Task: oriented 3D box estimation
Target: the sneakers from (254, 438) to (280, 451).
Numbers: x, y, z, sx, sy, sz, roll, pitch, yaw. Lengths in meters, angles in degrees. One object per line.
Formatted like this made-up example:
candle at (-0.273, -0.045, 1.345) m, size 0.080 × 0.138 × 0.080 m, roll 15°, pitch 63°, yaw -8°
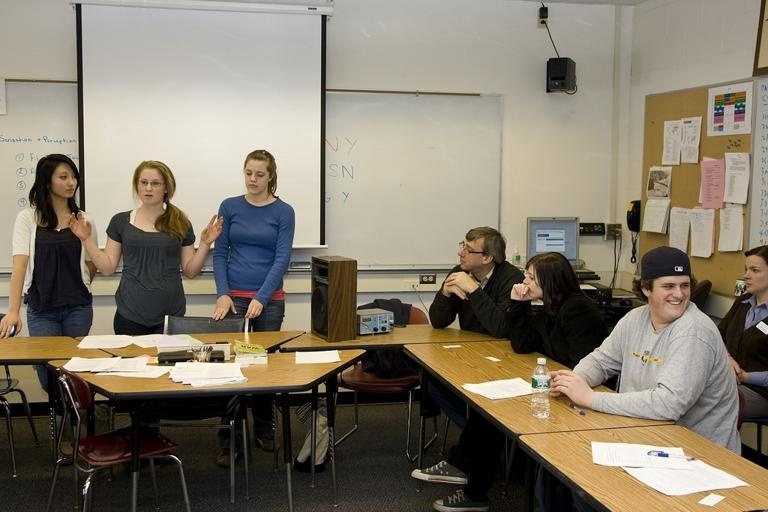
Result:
sneakers at (-0.924, 1.468, 4.570) m, size 0.105 × 0.072 × 0.263 m, roll 2°, pitch -2°, yaw -25°

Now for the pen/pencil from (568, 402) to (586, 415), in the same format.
pen/pencil at (1.031, 0.814, 3.106) m, size 0.025 × 0.028 × 0.099 m, roll -7°, pitch 11°, yaw -7°

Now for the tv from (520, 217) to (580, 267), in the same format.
tv at (1.518, -0.134, 5.262) m, size 0.488 × 0.499 × 0.053 m, roll -1°, pitch 3°, yaw -7°

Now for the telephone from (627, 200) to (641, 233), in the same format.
telephone at (2.409, -0.381, 5.615) m, size 0.074 × 0.312 × 0.152 m, roll -3°, pitch 7°, yaw -15°

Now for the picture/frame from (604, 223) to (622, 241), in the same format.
picture/frame at (2.293, -0.245, 5.810) m, size 0.156 × 0.159 × 0.046 m, roll 1°, pitch 8°, yaw 20°

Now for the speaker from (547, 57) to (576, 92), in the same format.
speaker at (1.724, -1.739, 5.577) m, size 0.328 × 0.336 × 0.207 m, roll -1°, pitch 7°, yaw -2°

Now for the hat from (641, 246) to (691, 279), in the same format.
hat at (1.490, 0.025, 3.100) m, size 0.197 × 0.141 × 0.199 m, roll -1°, pitch 9°, yaw 9°

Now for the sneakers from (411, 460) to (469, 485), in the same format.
sneakers at (0.407, 1.502, 4.128) m, size 0.430 × 0.167 × 0.163 m, roll 5°, pitch -16°, yaw 6°

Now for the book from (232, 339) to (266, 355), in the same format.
book at (-0.886, 0.599, 3.835) m, size 0.156 × 0.058 × 0.099 m, roll 0°, pitch 0°, yaw -8°

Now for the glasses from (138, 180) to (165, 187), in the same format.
glasses at (-1.691, -0.527, 4.230) m, size 0.166 × 0.049 × 0.057 m, roll -3°, pitch 7°, yaw -17°

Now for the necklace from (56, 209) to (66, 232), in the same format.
necklace at (-2.360, -0.265, 4.258) m, size 0.090 × 0.120 × 0.043 m, roll -2°, pitch 6°, yaw -14°

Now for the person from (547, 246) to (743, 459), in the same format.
person at (1.496, 0.477, 3.722) m, size 1.156 × 1.629 × 0.980 m, roll -1°, pitch 2°, yaw -6°
